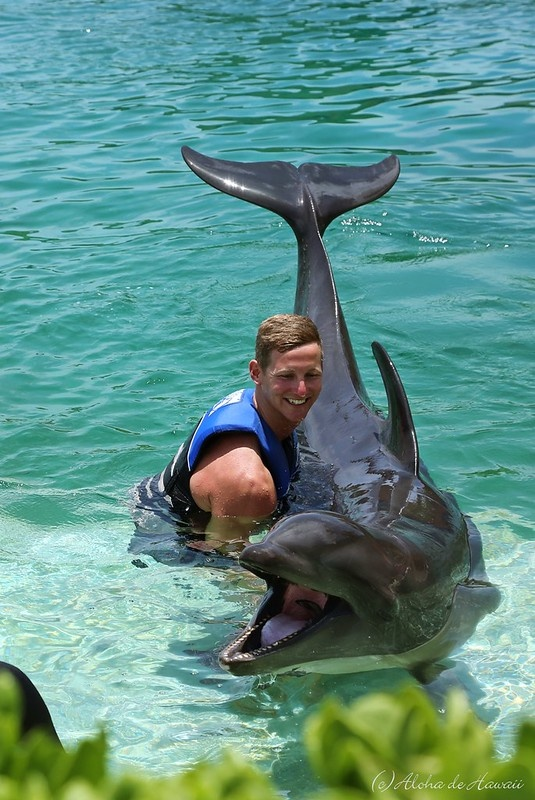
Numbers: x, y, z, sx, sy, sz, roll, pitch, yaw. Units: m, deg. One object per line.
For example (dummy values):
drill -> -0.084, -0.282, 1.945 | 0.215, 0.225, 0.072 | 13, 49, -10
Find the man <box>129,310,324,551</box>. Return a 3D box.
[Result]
man -> -0.048, 0.016, 4.164 | 0.641, 0.905, 0.329 | 45, 16, 25

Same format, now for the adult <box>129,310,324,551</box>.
adult -> -0.088, 0.130, 4.284 | 0.764, 1.050, 0.805 | -22, 30, -39

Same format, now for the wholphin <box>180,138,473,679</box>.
wholphin -> 0.329, -0.029, 4.299 | 1.193, 1.197, 3.071 | -1, 33, -6
